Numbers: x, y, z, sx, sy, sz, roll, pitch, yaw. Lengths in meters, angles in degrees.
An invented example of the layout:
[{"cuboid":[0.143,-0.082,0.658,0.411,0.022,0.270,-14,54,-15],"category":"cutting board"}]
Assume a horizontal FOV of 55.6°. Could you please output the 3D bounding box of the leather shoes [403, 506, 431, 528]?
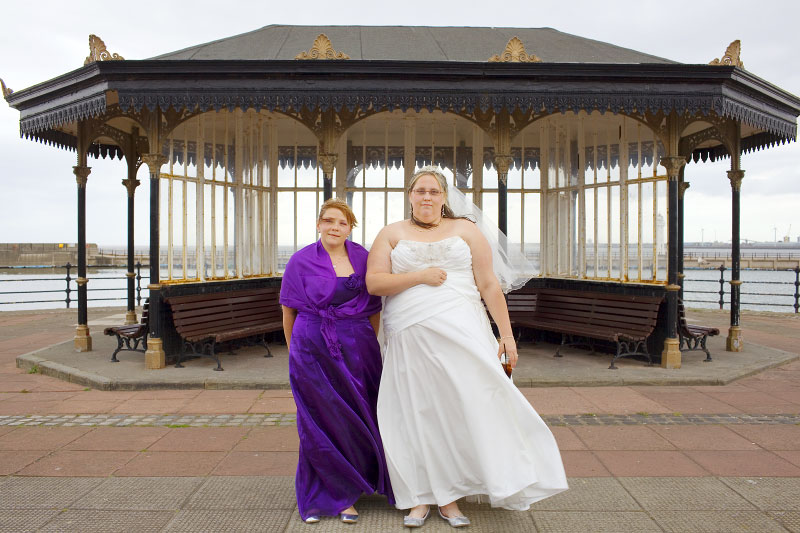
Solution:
[{"cuboid":[0.161,2.599,7.820,0.130,0.128,0.332,-5,-12,21],"category":"leather shoes"}]
